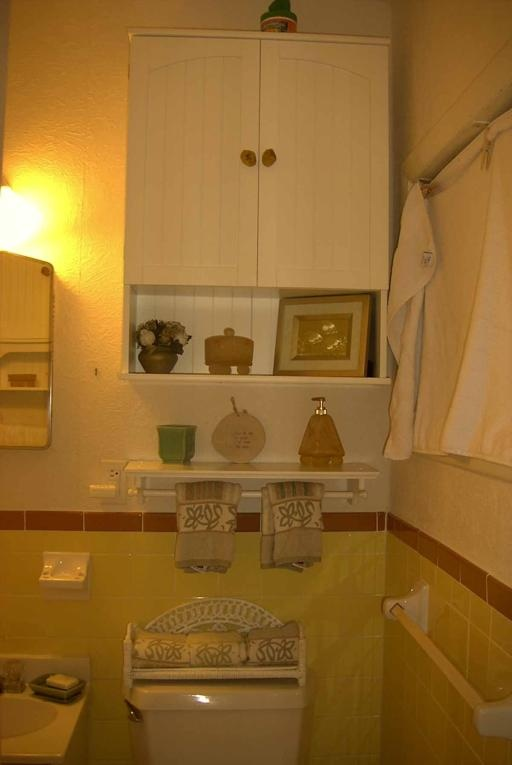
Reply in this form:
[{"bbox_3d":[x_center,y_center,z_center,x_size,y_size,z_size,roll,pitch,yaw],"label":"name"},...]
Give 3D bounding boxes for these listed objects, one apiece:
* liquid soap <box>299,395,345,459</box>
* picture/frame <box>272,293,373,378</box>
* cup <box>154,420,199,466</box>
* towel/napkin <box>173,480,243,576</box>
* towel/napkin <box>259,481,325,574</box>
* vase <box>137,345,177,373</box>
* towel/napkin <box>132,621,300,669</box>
[{"bbox_3d":[0.183,0.126,1.848,0.154,0.243,0.150,0,-8,2],"label":"liquid soap"},{"bbox_3d":[0.190,-0.121,1.780,0.214,0.195,0.022,1,-9,20],"label":"picture/frame"},{"bbox_3d":[-0.222,0.167,1.884,0.094,0.125,0.128,0,-3,4],"label":"cup"},{"bbox_3d":[-0.123,0.375,1.769,0.171,0.233,0.067,3,-8,-3],"label":"towel/napkin"},{"bbox_3d":[0.090,0.369,1.766,0.169,0.223,0.065,-1,-3,-10],"label":"towel/napkin"},{"bbox_3d":[-0.258,-0.057,1.785,0.073,0.053,0.071,-1,-7,33],"label":"vase"},{"bbox_3d":[-0.104,0.683,1.783,0.440,0.089,0.155,1,3,-2],"label":"towel/napkin"}]
